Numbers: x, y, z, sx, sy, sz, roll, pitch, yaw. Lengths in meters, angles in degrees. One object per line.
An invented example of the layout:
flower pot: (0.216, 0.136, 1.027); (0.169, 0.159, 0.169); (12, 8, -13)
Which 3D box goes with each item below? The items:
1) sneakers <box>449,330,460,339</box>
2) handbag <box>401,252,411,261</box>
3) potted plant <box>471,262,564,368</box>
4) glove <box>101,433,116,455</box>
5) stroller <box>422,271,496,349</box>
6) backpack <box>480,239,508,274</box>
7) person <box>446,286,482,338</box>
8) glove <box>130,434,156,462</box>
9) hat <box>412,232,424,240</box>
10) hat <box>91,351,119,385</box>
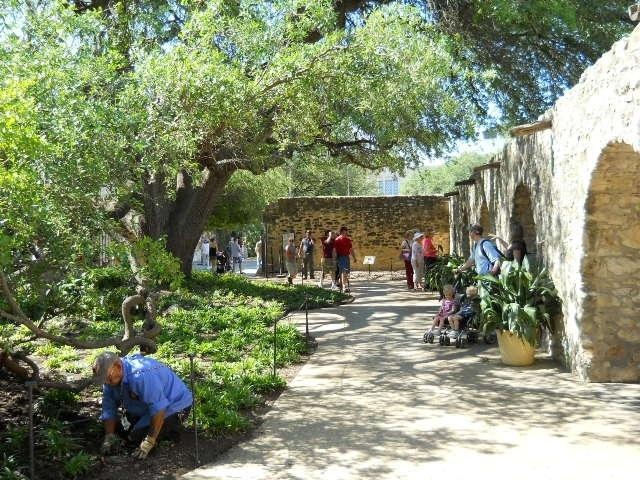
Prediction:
sneakers: (2.151, 1.507, 9.269); (0.176, 0.142, 0.124); (-4, -7, 10)
handbag: (2.670, 0.507, 17.905); (0.164, 0.258, 0.709); (-2, -8, -4)
potted plant: (2.822, 1.025, 8.174); (1.084, 1.461, 0.930); (-4, -7, 14)
glove: (-2.025, 1.943, 5.538); (0.101, 0.172, 0.053); (13, -49, -14)
stroller: (2.233, 1.288, 9.912); (0.831, 1.310, 1.062); (-2, -3, 44)
backpack: (2.693, 0.268, 9.029); (0.260, 0.498, 0.481); (-14, -4, 3)
person: (2.463, 1.163, 9.432); (0.680, 1.061, 0.492); (2, -4, -8)
glove: (-1.659, 1.968, 5.474); (0.170, 0.059, 0.214); (-41, 0, 38)
hat: (2.878, -0.123, 16.940); (0.318, 0.107, 0.329); (-21, 4, -16)
hat: (-2.008, 1.175, 5.468); (0.186, 0.307, 0.155); (-14, -38, 39)
